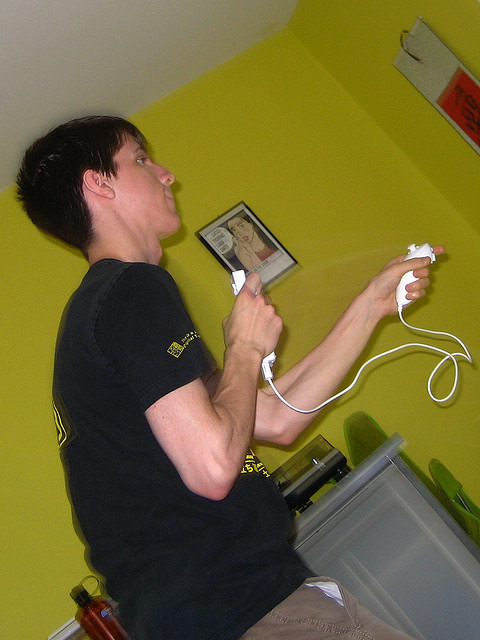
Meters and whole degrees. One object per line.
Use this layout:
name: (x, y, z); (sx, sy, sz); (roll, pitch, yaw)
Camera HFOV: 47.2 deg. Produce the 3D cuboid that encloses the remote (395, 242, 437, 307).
remote: (0.328, -0.096, 1.065); (0.090, 0.050, 0.132); (-124, 52, -81)
